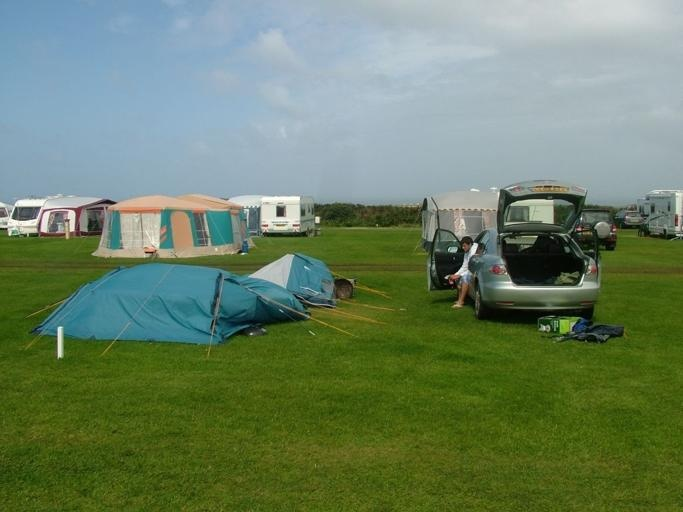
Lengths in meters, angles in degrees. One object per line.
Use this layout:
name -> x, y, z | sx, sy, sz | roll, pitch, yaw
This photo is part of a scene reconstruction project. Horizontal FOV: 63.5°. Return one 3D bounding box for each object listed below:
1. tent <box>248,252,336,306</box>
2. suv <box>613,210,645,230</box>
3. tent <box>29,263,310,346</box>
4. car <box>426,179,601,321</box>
tent -> -1.042, 0.527, 12.916 | 1.697, 0.549, 1.283 | 6, 11, 19
suv -> 24.835, -2.989, 47.472 | 1.906, 1.445, 4.341 | 0, 7, 14
tent -> -3.221, 0.840, 10.200 | 4.248, 1.239, 1.743 | 0, 8, -1
car -> 3.876, -0.067, 12.481 | 3.256, 1.986, 4.353 | 0, 8, 2
